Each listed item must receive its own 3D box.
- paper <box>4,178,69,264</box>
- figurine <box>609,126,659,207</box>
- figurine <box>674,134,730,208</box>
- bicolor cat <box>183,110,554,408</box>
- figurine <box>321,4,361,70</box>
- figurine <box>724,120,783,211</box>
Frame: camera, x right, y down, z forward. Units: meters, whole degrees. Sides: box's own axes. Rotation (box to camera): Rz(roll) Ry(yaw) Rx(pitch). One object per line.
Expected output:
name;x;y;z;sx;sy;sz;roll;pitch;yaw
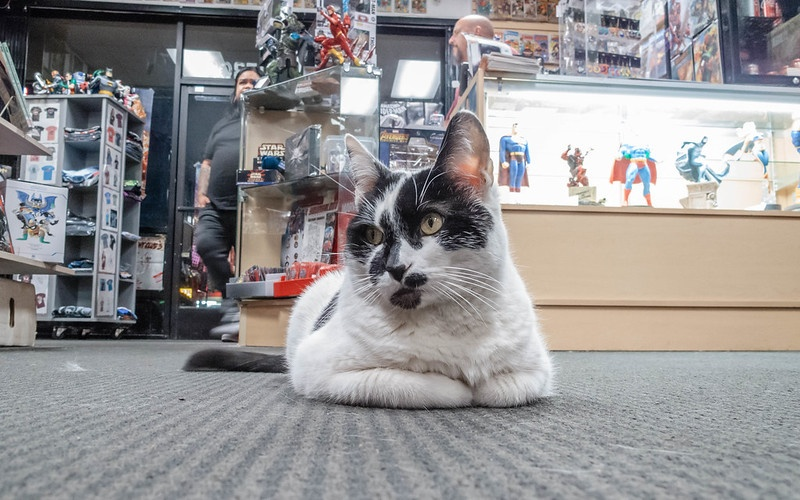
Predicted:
paper;-3.166;-0.260;5.259;0.473;0.684;0.470;-2;2;-31
figurine;1.863;-0.681;4.827;0.353;0.629;0.180;0;2;8
figurine;2.385;-0.623;4.781;0.383;0.587;0.569;1;2;30
bicolor cat;-0.237;0.169;3.780;1.242;1.371;2.571;2;-6;-29
figurine;-0.499;-1.700;4.821;0.340;0.590;0.533;-1;2;-8
figurine;2.895;-0.567;4.945;0.338;0.844;0.266;-1;-5;19
